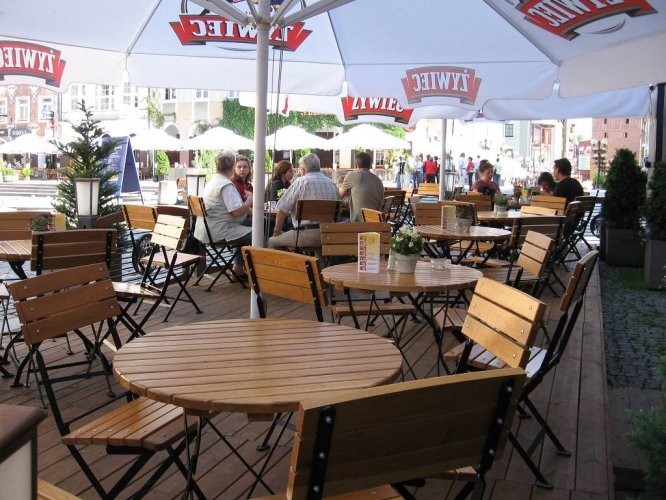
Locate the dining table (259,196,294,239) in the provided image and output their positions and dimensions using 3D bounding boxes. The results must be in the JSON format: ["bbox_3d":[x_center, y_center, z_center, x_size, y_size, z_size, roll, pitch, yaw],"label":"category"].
[{"bbox_3d":[-0.950,-0.662,7.577,0.291,0.394,0.617,10,9,-26],"label":"dining table"}]

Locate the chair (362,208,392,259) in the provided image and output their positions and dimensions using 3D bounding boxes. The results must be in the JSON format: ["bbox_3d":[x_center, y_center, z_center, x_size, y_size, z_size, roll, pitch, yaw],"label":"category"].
[{"bbox_3d":[0.563,-0.299,6.387,0.534,0.655,0.455,2,13,7],"label":"chair"}]

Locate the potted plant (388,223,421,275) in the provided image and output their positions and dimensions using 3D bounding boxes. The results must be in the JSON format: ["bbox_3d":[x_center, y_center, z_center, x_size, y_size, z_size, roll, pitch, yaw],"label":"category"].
[{"bbox_3d":[0.590,0.000,3.789,0.244,0.347,0.251,2,12,6],"label":"potted plant"}]

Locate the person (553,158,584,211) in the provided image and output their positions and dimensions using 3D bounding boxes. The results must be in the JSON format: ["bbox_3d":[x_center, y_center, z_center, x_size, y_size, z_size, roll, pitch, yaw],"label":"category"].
[{"bbox_3d":[4.495,-1.278,9.058,0.698,0.967,0.563,-10,11,-22],"label":"person"}]

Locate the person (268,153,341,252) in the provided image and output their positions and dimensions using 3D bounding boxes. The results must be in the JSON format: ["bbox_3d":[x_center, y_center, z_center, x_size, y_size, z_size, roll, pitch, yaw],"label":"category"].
[{"bbox_3d":[-0.437,-0.691,7.183,1.067,1.345,1.008,2,-6,-34],"label":"person"}]

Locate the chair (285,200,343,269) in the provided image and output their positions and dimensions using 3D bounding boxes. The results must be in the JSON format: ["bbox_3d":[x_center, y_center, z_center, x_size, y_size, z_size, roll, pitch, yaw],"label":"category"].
[{"bbox_3d":[-0.218,-0.374,7.084,0.739,1.120,0.879,1,29,2],"label":"chair"}]

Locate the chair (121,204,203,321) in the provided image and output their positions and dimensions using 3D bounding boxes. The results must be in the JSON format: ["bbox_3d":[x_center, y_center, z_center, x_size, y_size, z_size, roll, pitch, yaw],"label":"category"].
[{"bbox_3d":[-2.327,0.148,5.969,1.052,1.389,0.834,10,-10,28],"label":"chair"}]

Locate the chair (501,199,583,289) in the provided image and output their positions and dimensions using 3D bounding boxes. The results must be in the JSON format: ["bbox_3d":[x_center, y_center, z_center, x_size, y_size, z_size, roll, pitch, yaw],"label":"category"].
[{"bbox_3d":[3.174,0.006,6.490,0.886,1.163,0.843,15,57,9],"label":"chair"}]

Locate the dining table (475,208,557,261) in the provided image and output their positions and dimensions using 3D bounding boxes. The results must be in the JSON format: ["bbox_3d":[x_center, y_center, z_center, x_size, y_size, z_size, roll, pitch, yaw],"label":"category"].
[{"bbox_3d":[2.370,-0.197,6.096,0.701,0.647,0.521,-9,30,-22],"label":"dining table"}]

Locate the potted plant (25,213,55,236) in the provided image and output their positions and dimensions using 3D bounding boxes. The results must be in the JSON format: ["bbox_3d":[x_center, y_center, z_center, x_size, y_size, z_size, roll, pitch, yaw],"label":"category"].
[{"bbox_3d":[-3.066,-0.263,4.862,0.303,0.204,0.296,0,4,-35],"label":"potted plant"}]

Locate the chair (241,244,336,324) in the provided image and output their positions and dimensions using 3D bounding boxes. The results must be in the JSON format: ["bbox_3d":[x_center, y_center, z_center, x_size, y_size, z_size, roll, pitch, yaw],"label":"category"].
[{"bbox_3d":[-0.306,0.257,2.964,0.619,0.526,0.241,8,24,35],"label":"chair"}]

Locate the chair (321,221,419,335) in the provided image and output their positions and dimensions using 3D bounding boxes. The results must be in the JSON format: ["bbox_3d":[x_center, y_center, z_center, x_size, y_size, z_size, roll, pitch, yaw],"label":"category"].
[{"bbox_3d":[0.354,0.326,4.552,1.061,1.096,1.012,6,12,-6],"label":"chair"}]

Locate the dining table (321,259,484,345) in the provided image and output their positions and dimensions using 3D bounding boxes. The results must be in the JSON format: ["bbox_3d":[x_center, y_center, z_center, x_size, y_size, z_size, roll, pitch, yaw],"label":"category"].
[{"bbox_3d":[0.509,0.238,3.548,0.912,0.457,0.893,-3,11,-9],"label":"dining table"}]
